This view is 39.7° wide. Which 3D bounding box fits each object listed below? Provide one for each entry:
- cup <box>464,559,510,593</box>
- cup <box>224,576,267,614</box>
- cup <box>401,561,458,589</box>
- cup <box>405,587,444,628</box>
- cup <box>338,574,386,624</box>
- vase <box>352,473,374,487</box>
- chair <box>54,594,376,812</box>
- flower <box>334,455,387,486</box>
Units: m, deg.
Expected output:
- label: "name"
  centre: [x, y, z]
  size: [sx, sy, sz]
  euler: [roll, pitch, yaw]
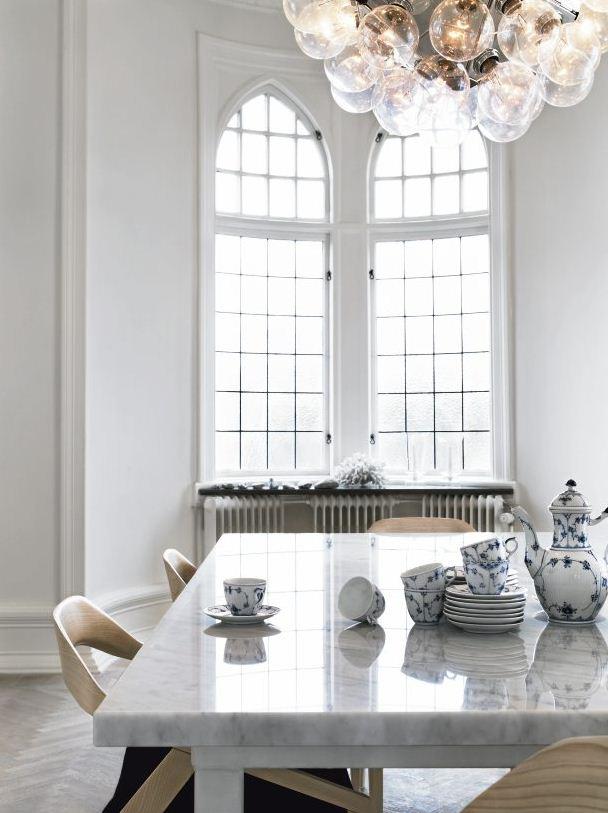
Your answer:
- label: "cup"
  centre: [0.370, 0.342, 1.715]
  size: [0.068, 0.052, 0.065]
  euler: [-1, -3, 0]
- label: "cup"
  centre: [-0.126, 0.400, 1.818]
  size: [0.079, 0.059, 0.071]
  euler: [-2, 5, -32]
- label: "cup"
  centre: [0.258, 0.343, 1.766]
  size: [0.092, 0.051, 0.080]
  euler: [0, 1, 12]
- label: "cup"
  centre: [0.244, 0.410, 1.722]
  size: [0.072, 0.059, 0.073]
  euler: [0, -7, 0]
- label: "cup"
  centre: [0.121, 0.409, 1.781]
  size: [0.066, 0.096, 0.075]
  euler: [19, -36, -35]
- label: "vase"
  centre: [0.360, 0.445, 5.101]
  size: [0.125, 0.070, 0.044]
  euler: [1, 1, 2]
- label: "chair"
  centre: [-0.194, 0.604, 1.850]
  size: [0.653, 0.601, 0.508]
  euler: [-1, -1, 2]
- label: "flower"
  centre: [0.348, 0.400, 5.136]
  size: [0.203, 0.146, 0.198]
  euler: [4, -3, -15]
